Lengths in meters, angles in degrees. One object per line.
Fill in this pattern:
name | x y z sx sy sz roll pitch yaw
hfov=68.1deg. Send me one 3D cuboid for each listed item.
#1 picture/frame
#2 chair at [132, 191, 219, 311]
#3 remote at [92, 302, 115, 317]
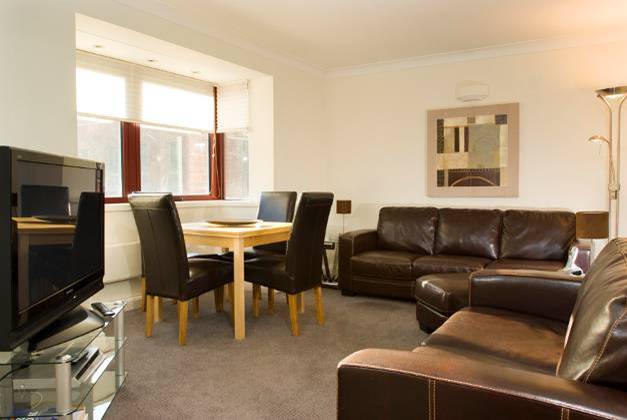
picture/frame | 1.970 -0.729 5.612 1.256 1.234 0.047 0 1 26
chair | -1.200 0.284 4.091 0.621 0.927 0.546 6 12 33
remote | -1.312 0.623 2.897 0.162 0.031 0.078 15 6 23
